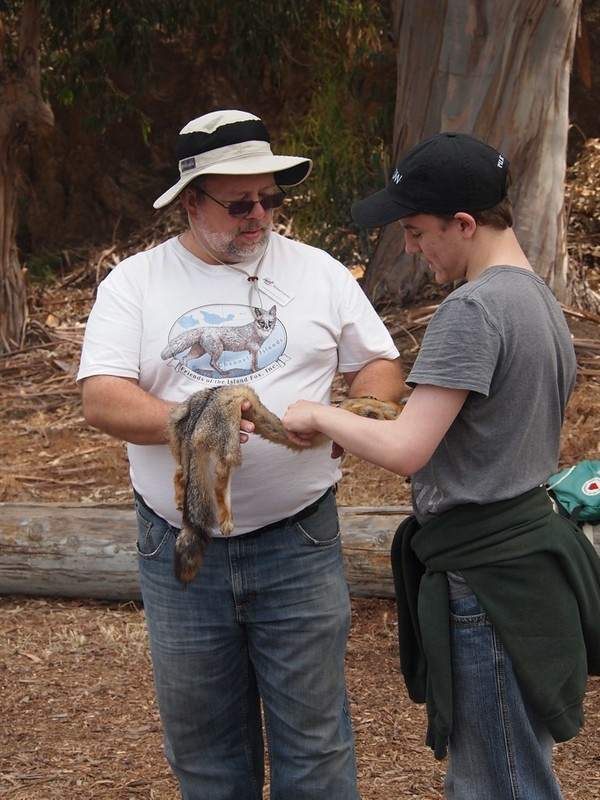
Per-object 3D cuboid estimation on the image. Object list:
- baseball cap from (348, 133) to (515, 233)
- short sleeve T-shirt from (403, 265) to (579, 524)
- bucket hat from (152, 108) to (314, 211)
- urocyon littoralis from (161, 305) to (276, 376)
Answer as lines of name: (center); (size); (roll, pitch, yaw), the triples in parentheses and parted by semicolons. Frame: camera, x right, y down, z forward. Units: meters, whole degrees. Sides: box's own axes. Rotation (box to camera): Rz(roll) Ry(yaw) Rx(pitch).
baseball cap: (0.362, -0.571, 2.443); (0.438, 0.182, 0.229); (-1, 31, 11)
short sleeve T-shirt: (0.500, 0.018, 2.387); (0.376, 0.704, 0.373); (28, 34, 28)
bucket hat: (-0.262, -0.709, 2.905); (0.473, 0.188, 0.442); (1, 12, 42)
urocyon littoralis: (-0.224, -0.170, 2.735); (0.342, 0.191, 0.112); (-4, 32, -23)
